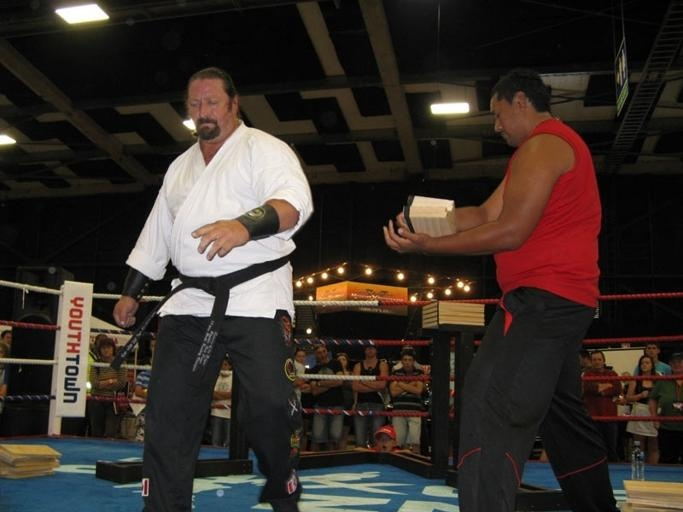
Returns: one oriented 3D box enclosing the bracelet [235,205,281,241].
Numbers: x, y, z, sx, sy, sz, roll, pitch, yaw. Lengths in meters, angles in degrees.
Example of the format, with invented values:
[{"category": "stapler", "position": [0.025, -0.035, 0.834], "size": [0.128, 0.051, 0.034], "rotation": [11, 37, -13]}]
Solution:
[{"category": "bracelet", "position": [-0.342, -0.142, 2.374], "size": [0.143, 0.082, 0.151], "rotation": [-17, 25, -24]}]
